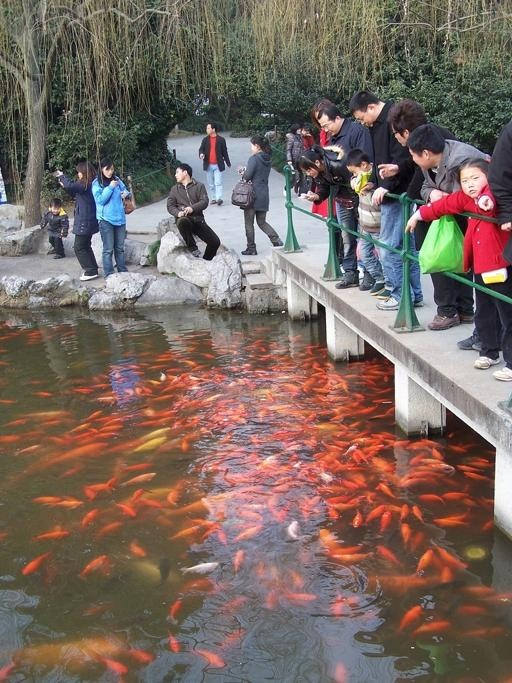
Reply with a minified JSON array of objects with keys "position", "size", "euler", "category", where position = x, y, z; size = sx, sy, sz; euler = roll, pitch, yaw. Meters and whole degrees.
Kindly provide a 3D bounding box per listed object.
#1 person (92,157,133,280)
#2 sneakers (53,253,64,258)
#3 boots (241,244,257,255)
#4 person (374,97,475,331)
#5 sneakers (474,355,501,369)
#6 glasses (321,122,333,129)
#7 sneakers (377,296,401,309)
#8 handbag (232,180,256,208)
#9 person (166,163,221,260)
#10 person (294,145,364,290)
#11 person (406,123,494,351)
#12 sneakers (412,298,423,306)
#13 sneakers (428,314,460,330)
[{"position":[-2.040,-1.743,9.916],"size":[0.535,1.633,0.903],"euler":[-7,16,-11],"category":"person"},{"position":[-3.536,-1.494,12.171],"size":[0.230,0.087,0.083],"euler":[2,46,-11],"category":"sneakers"},{"position":[-0.101,-1.439,10.701],"size":[0.232,0.205,0.110],"euler":[15,29,22],"category":"boots"},{"position":[1.198,-0.840,4.872],"size":[0.763,1.593,0.537],"euler":[-15,41,-9],"category":"person"},{"position":[1.314,0.114,3.884],"size":[0.153,0.054,0.057],"euler":[0,5,-32],"category":"sneakers"},{"position":[0.584,-1.789,5.680],"size":[0.056,0.027,0.043],"euler":[-21,0,-39],"category":"glasses"},{"position":[1.027,-0.290,5.272],"size":[0.174,0.070,0.069],"euler":[2,16,13],"category":"sneakers"},{"position":[-0.183,-2.170,10.166],"size":[0.344,0.423,0.198],"euler":[-1,16,10],"category":"handbag"},{"position":[-0.906,-1.825,9.799],"size":[0.701,1.350,0.505],"euler":[-4,16,-3],"category":"person"},{"position":[0.711,-1.231,6.178],"size":[0.520,0.923,0.348],"euler":[-5,-6,2],"category":"person"},{"position":[1.199,-0.679,4.128],"size":[0.481,1.126,0.414],"euler":[3,6,39],"category":"person"},{"position":[1.260,-0.306,5.310],"size":[0.126,0.051,0.046],"euler":[-2,21,1],"category":"sneakers"},{"position":[1.279,-0.131,4.728],"size":[0.247,0.102,0.085],"euler":[-4,7,-15],"category":"sneakers"}]
